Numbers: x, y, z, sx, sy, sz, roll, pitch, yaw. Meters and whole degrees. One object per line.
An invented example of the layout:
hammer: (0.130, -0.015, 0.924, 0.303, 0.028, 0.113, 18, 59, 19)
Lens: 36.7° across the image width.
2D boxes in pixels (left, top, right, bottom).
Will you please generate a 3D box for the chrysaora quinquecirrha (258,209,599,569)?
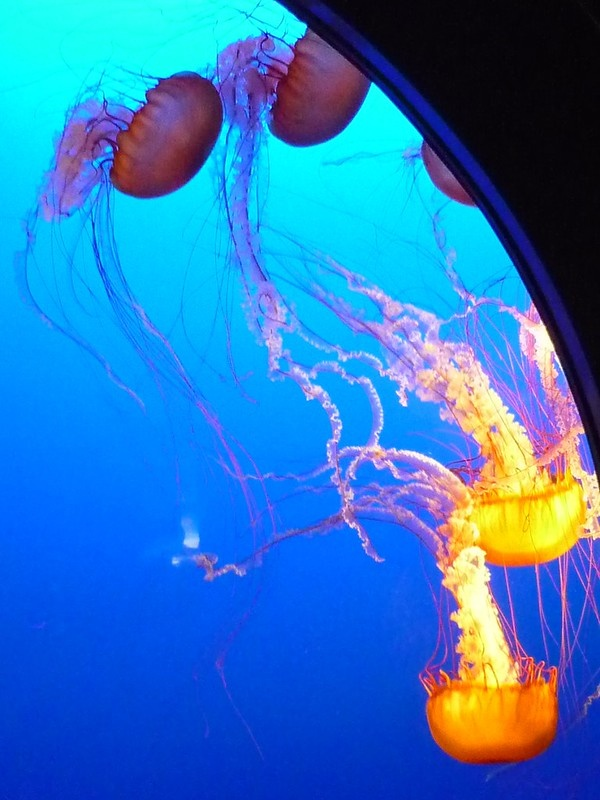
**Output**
chrysaora quinquecirrha: (0.709, -0.042, 3.530, 0.871, 1.362, 0.445, -29, 6, 24)

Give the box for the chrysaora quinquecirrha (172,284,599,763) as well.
chrysaora quinquecirrha: (0.301, 0.687, 4.134, 1.533, 2.241, 1.213, -5, -5, -16)

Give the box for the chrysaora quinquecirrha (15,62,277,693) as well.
chrysaora quinquecirrha: (-0.617, -0.413, 4.223, 0.627, 2.420, 0.822, -18, 50, -4)
